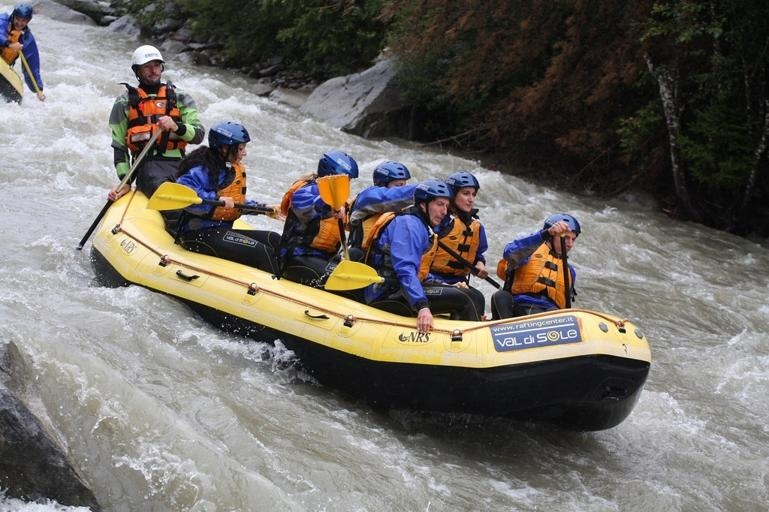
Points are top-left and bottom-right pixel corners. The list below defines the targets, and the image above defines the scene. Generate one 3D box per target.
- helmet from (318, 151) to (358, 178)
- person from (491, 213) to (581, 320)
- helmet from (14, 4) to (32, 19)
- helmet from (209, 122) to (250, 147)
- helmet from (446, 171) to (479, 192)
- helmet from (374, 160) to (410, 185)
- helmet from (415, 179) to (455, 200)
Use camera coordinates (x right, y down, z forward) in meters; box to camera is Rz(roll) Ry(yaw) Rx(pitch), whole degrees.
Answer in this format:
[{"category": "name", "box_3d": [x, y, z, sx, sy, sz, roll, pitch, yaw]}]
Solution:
[{"category": "helmet", "box_3d": [-0.521, -1.021, 9.705, 0.372, 0.311, 0.282, 22, 15, 4]}, {"category": "person", "box_3d": [1.743, 0.157, 10.175, 0.847, 0.750, 1.098, 27, 62, 14]}, {"category": "helmet", "box_3d": [-5.746, -3.875, 13.858, 0.252, 0.191, 0.308, 6, 17, -24]}, {"category": "helmet", "box_3d": [-1.782, -1.382, 10.028, 0.384, 0.221, 0.278, 6, 11, 1]}, {"category": "helmet", "box_3d": [0.868, -0.868, 9.962, 0.307, 0.286, 0.242, 0, 10, 12]}, {"category": "helmet", "box_3d": [0.068, -0.968, 10.051, 0.341, 0.315, 0.266, 0, 7, 12]}, {"category": "helmet", "box_3d": [0.483, -0.697, 9.236, 0.294, 0.178, 0.223, 10, 4, 12]}]
